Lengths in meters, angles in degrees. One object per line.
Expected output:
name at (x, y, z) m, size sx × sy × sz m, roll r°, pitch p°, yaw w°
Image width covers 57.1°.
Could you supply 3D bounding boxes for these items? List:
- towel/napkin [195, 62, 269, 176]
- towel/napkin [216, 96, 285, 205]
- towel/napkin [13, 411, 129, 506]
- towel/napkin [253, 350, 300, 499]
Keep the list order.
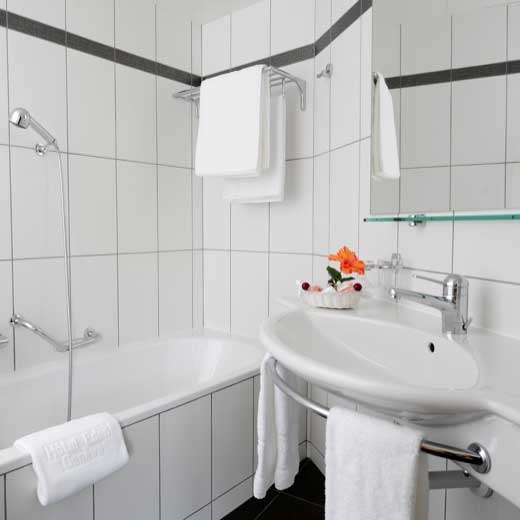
towel/napkin at (-0.123, -0.643, 2.245) m, size 0.114 × 0.676 × 0.509 m, roll 2°, pitch -3°, yaw -44°
towel/napkin at (-0.026, -0.460, 2.157) m, size 0.290 × 0.495 × 0.102 m, roll 4°, pitch 9°, yaw 35°
towel/napkin at (-0.543, 0.572, 1.425) m, size 0.209 × 0.087 × 0.210 m, roll -10°, pitch 21°, yaw -37°
towel/napkin at (0.046, 0.474, 1.430) m, size 0.146 × 0.493 × 0.092 m, roll -13°, pitch 25°, yaw -17°
